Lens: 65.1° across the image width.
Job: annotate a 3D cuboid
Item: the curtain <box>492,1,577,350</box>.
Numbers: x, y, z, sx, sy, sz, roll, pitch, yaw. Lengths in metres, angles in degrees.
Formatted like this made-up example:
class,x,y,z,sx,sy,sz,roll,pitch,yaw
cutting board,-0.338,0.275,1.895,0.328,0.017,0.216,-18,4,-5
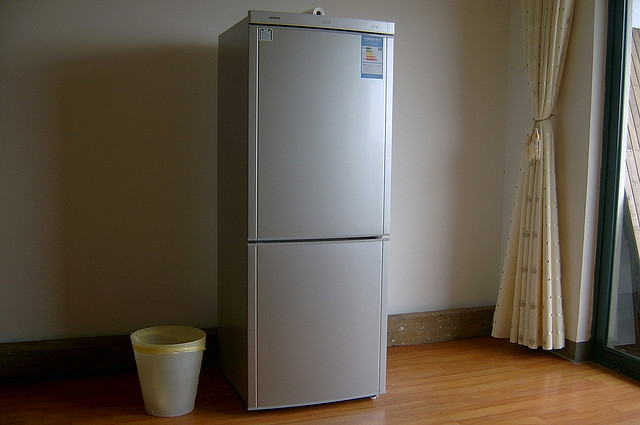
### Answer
class,x,y,z,sx,sy,sz,roll,pitch,yaw
curtain,1.651,-0.264,3.714,0.537,2.498,0.680,6,16,20

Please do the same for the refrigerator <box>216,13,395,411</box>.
class,x,y,z,sx,sy,sz,roll,pitch,yaw
refrigerator,-0.042,0.007,3.029,0.951,2.270,0.650,1,15,1

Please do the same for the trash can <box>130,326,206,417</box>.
class,x,y,z,sx,sy,sz,roll,pitch,yaw
trash can,-0.932,0.952,3.184,0.472,0.480,0.474,1,3,-40
